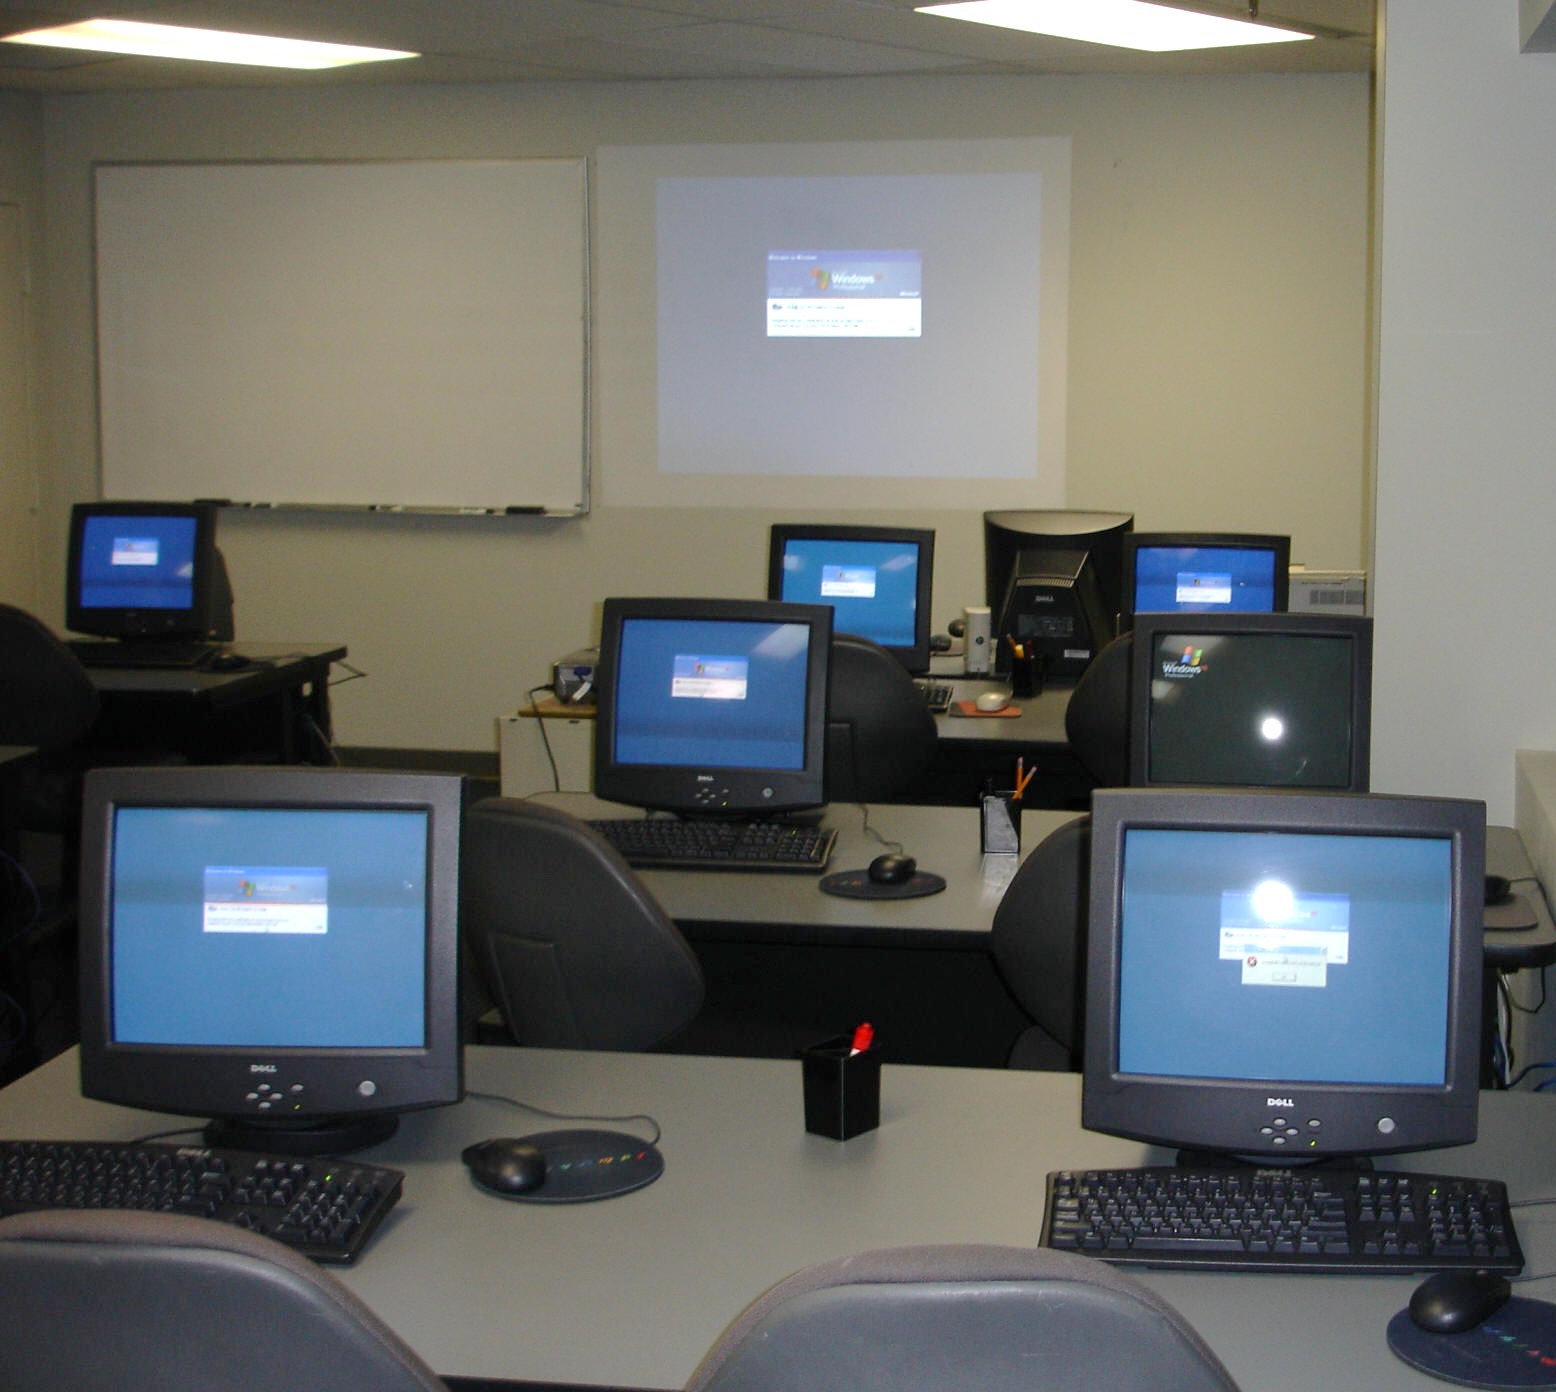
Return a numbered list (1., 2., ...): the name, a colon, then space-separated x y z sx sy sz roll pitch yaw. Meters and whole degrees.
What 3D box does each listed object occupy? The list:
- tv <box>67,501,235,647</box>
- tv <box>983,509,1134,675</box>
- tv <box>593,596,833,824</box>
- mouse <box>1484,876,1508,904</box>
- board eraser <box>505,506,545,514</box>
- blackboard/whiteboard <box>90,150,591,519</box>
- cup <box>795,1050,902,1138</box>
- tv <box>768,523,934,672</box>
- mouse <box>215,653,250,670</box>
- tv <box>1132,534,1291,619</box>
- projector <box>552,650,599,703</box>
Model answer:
1. tv: -2.132 -0.458 5.193 0.412 0.504 0.500 3 12 1
2. tv: 0.885 -0.319 4.606 0.363 0.473 0.240 6 26 20
3. tv: -0.084 0.001 3.338 0.635 0.711 0.384 1 -2 7
4. mouse: 1.239 0.336 2.555 0.036 0.020 0.051 -5 11 2
5. board eraser: -1.131 -0.837 6.770 0.176 0.049 0.098 -2 10 -1
6. blackboard/whiteboard: -1.893 -1.689 6.749 1.610 1.294 0.179 1 7 8
7. cup: 0.081 0.477 1.872 0.100 0.167 0.102 2 -2 0
8. tv: 0.284 -0.357 4.738 0.644 0.690 0.383 1 4 10
9. mouse: -1.870 -0.113 5.095 0.059 0.026 0.089 2 10 -3
10. tv: 1.216 -0.335 4.133 0.249 0.248 0.153 1 5 6
11. projector: -0.606 -0.050 4.553 0.125 0.182 0.169 -9 21 -6
